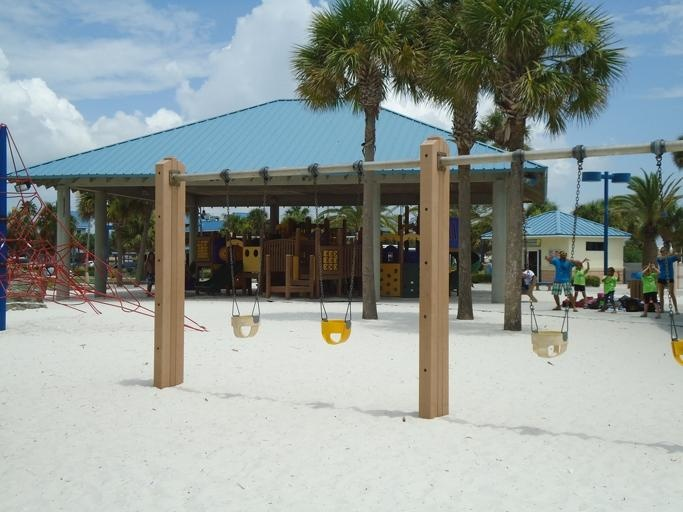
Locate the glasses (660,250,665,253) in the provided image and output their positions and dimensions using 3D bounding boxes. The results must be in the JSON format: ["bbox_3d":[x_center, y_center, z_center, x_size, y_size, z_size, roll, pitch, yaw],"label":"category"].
[{"bbox_3d":[7.408,-0.101,15.821,0.095,0.080,0.096,6,12,43],"label":"glasses"}]

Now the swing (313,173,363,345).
[{"bbox_3d":[-0.056,0.412,8.906,0.397,1.513,0.328,3,-8,-1],"label":"swing"}]
